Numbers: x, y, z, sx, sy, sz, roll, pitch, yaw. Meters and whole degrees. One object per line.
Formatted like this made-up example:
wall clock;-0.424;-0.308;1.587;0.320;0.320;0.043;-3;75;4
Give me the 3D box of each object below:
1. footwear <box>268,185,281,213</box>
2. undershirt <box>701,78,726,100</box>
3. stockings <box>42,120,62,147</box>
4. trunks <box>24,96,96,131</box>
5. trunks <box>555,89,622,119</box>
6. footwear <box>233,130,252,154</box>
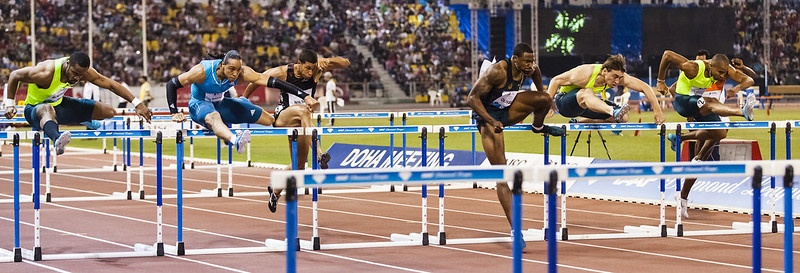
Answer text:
footwear;-5.717;2.890;40.560;0.717;1.182;0.527;1;7;34
undershirt;14.818;-2.283;41.675;1.284;0.573;0.895;-28;22;-10
stockings;-15.712;-0.117;39.998;0.522;1.338;0.628;-30;-13;-14
trunks;-15.511;-1.183;40.592;2.432;0.633;2.005;-13;-2;29
trunks;8.604;-1.537;41.036;2.521;0.725;1.553;8;-4;13
footwear;-7.022;0.231;39.675;0.632;1.093;0.566;33;26;34
